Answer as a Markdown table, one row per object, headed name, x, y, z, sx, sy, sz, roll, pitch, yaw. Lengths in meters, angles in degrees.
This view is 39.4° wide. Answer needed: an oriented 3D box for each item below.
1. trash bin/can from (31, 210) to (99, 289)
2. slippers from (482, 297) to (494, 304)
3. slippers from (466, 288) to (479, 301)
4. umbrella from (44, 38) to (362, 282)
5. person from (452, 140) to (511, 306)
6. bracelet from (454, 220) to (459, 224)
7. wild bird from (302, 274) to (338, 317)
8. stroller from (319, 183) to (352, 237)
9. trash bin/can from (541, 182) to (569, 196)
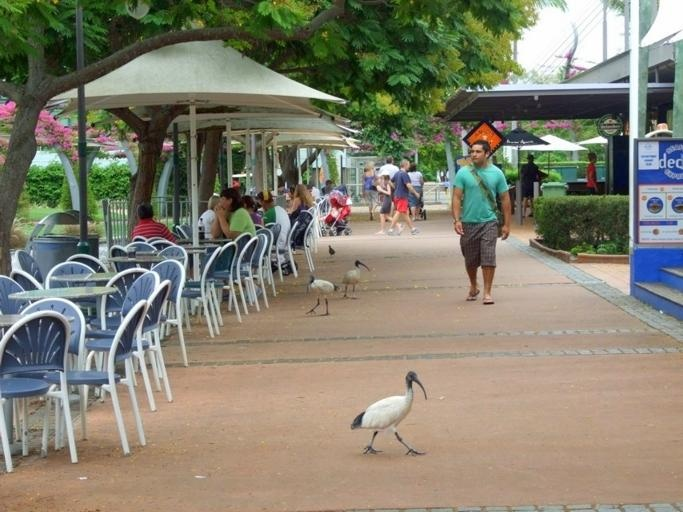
| name | x | y | z | sx | sy | sz | roll | pitch | yaw |
| --- | --- | --- | --- | --- | --- | --- | --- | --- | --- |
| trash bin/can | -4.279 | -0.117 | 14.701 | 0.879 | 1.415 | 0.873 | 10 | 13 | 37 |
| slippers | 2.102 | 0.613 | 13.645 | 0.152 | 0.123 | 0.164 | -1 | 8 | 10 |
| slippers | 1.954 | 0.566 | 14.157 | 0.140 | 0.114 | 0.399 | -4 | 2 | 10 |
| umbrella | -2.068 | -1.388 | 14.978 | 5.247 | 3.725 | 3.398 | 3 | 7 | 6 |
| person | 2.040 | -0.608 | 13.976 | 0.781 | 2.510 | 0.744 | 5 | 9 | 10 |
| bracelet | 1.653 | -0.485 | 13.677 | 0.051 | 0.055 | 0.052 | -7 | 10 | -36 |
| wild bird | -0.407 | 0.538 | 13.896 | 0.649 | 0.814 | 0.334 | 0 | -7 | 8 |
| stroller | -0.372 | -1.300 | 28.346 | 0.664 | 1.442 | 1.683 | 2 | 4 | 42 |
| trash bin/can | 6.418 | -1.985 | 28.786 | 0.712 | 0.377 | 1.622 | -1 | 8 | 11 |
